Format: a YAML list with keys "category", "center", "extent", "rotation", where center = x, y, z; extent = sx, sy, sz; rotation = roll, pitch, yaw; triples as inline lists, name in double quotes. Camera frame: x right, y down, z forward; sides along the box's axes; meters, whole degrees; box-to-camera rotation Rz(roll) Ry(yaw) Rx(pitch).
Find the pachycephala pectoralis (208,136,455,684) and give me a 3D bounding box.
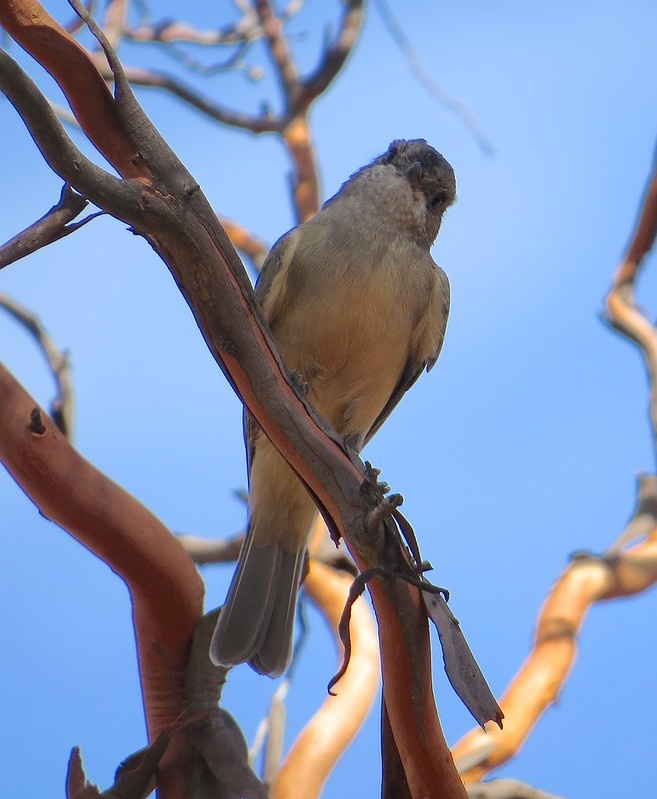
- category: "pachycephala pectoralis"
  center: [0.031, -0.009, 3.011]
  extent: [0.460, 1.223, 0.583]
  rotation: [6, -56, -7]
